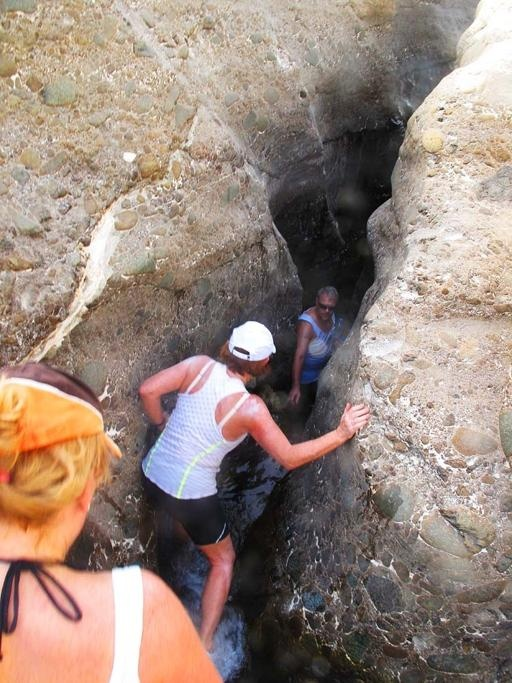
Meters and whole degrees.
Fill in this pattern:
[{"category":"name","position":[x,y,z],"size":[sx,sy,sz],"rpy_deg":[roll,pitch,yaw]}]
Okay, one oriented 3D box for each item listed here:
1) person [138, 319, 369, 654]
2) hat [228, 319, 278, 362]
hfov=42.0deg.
[{"category":"person","position":[-0.058,0.567,2.487],"size":[0.798,1.237,0.516],"rpy_deg":[16,18,16]},{"category":"hat","position":[-0.008,-0.022,2.351],"size":[0.117,0.082,0.157],"rpy_deg":[10,35,9]}]
